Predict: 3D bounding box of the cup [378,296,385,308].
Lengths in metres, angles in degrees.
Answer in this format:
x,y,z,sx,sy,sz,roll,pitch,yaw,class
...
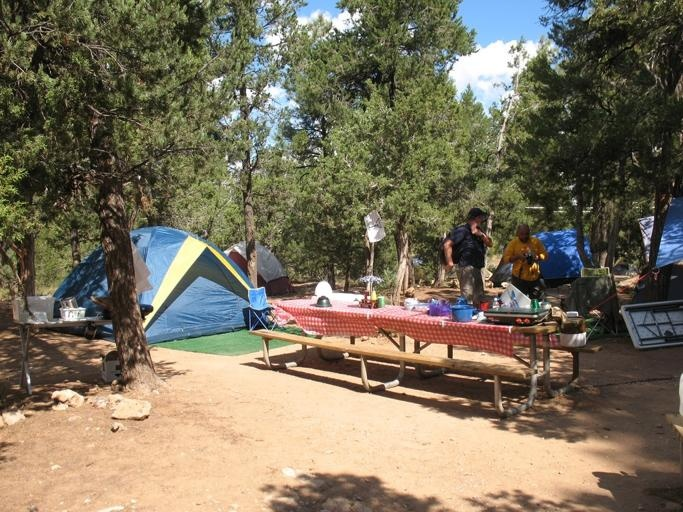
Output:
x,y,z,sx,sy,sz,roll,pitch,yaw,class
0.595,0.725,8.742,0.134,0.157,0.138,-1,0,0,cup

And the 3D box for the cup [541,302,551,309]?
x,y,z,sx,sy,sz,roll,pitch,yaw,class
2.605,0.638,7.248,0.089,0.046,0.089,-1,0,0,cup

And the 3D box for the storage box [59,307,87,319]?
x,y,z,sx,sy,sz,roll,pitch,yaw,class
-3.992,0.861,8.433,0.189,0.107,0.244,-4,-6,43,storage box

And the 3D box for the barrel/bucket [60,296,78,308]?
x,y,z,sx,sy,sz,roll,pitch,yaw,class
-4.138,0.715,8.610,0.187,0.174,0.319,-3,7,-23,barrel/bucket

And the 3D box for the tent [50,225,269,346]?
x,y,z,sx,sy,sz,roll,pitch,yaw,class
-4.372,0.817,13.756,2.987,1.956,3.055,-4,-3,38,tent

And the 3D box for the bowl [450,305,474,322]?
x,y,z,sx,sy,sz,roll,pitch,yaw,class
1.555,0.760,7.402,0.272,0.193,0.172,4,-6,-37,bowl

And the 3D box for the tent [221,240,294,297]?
x,y,z,sx,sy,sz,roll,pitch,yaw,class
-3.428,0.557,23.306,2.230,1.604,2.295,10,9,37,tent

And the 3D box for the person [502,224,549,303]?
x,y,z,sx,sy,sz,roll,pitch,yaw,class
3.479,0.383,10.705,0.727,2.017,0.607,-4,24,16,person

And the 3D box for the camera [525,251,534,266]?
x,y,z,sx,sy,sz,roll,pitch,yaw,class
3.263,0.061,9.908,0.177,0.309,0.187,-3,3,-13,camera

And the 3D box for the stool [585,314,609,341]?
x,y,z,sx,sy,sz,roll,pitch,yaw,class
5.342,1.505,11.966,0.483,0.504,0.494,-2,2,39,stool

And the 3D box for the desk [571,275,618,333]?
x,y,z,sx,sy,sz,roll,pitch,yaw,class
5.453,1.000,12.193,0.869,1.268,0.436,6,3,34,desk

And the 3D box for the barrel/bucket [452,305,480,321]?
x,y,z,sx,sy,sz,roll,pitch,yaw,class
1.595,0.744,7.374,0.239,0.155,0.194,2,-5,-15,barrel/bucket

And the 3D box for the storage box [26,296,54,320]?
x,y,z,sx,sy,sz,roll,pitch,yaw,class
-4.313,0.772,8.173,0.354,0.378,0.389,-6,9,-37,storage box

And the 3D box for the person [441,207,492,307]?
x,y,z,sx,sy,sz,roll,pitch,yaw,class
1.964,-0.020,8.986,0.704,1.487,0.920,2,8,22,person

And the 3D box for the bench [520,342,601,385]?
x,y,z,sx,sy,sz,roll,pitch,yaw,class
2.989,1.468,7.968,1.103,0.379,0.523,11,-8,4,bench

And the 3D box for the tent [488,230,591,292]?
x,y,z,sx,sy,sz,roll,pitch,yaw,class
6.268,0.130,18.279,2.644,1.287,2.714,-8,6,13,tent
